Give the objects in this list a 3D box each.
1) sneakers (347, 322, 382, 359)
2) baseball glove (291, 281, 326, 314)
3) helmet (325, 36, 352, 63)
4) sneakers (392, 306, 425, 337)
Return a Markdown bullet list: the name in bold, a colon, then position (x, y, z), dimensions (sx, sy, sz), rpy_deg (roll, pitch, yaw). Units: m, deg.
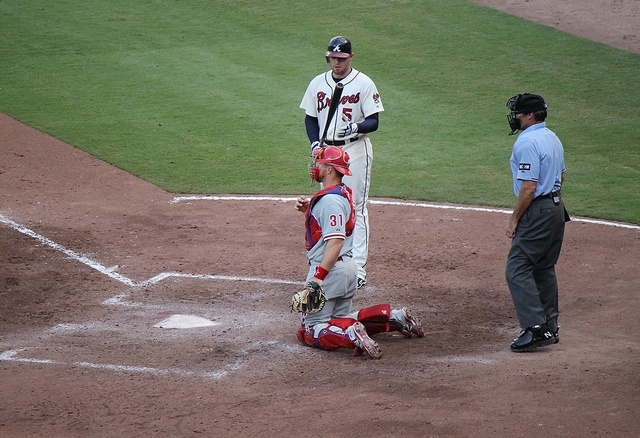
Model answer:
- **sneakers**: position (0.523, 1.482, 11.240), dimensions (0.529, 0.251, 0.216), rpy_deg (39, 51, 0)
- **baseball glove**: position (-0.135, 0.964, 11.126), dimensions (0.401, 0.512, 0.361), rpy_deg (7, 26, -1)
- **helmet**: position (0.264, -2.250, 12.179), dimensions (0.396, 0.170, 0.391), rpy_deg (2, 23, 9)
- **sneakers**: position (1.154, 1.334, 11.696), dimensions (0.589, 0.276, 0.194), rpy_deg (39, 22, -23)
